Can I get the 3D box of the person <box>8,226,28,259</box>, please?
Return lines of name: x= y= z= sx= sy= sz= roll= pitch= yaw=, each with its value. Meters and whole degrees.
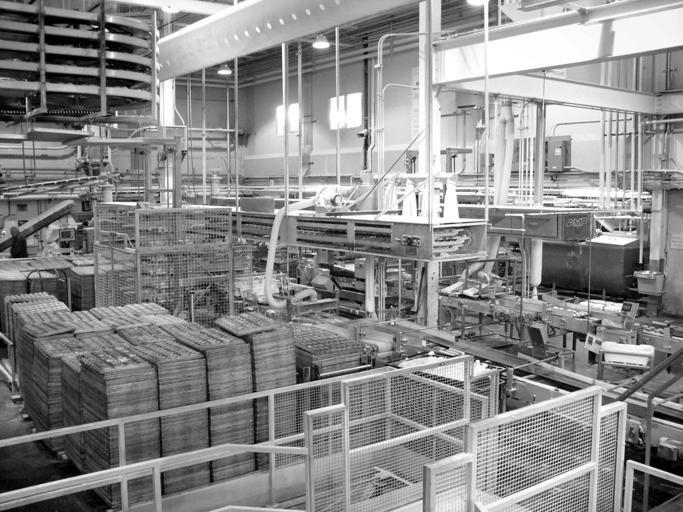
person: x=-7.591 y=-0.335 z=15.314 sx=0.317 sy=0.681 sz=1.866 roll=-2 pitch=9 yaw=-27
